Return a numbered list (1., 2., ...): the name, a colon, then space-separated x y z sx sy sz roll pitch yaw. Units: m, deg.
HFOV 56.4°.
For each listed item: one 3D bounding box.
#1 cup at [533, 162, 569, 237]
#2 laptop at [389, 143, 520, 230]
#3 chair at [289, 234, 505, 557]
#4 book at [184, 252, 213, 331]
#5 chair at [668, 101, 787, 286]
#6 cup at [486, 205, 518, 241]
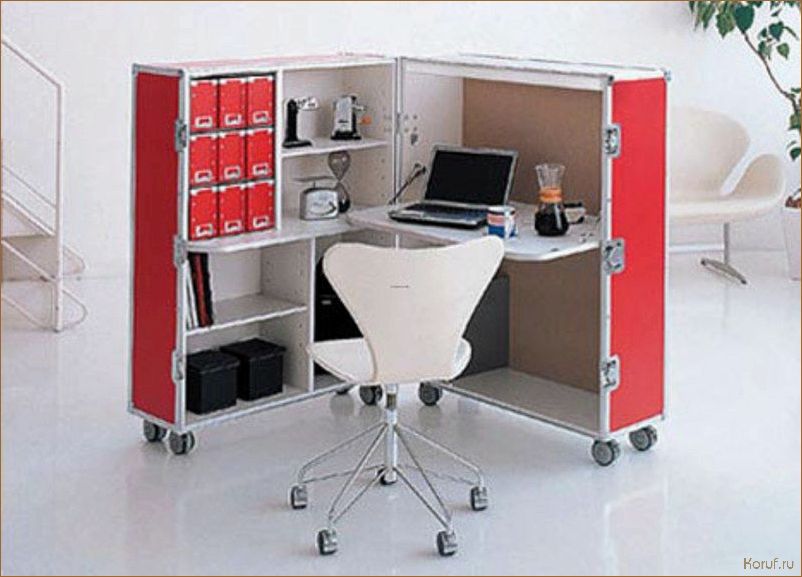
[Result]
1. cup: 0.695 -0.412 3.412 0.153 0.290 0.456 3 14 10
2. laptop: 0.257 -0.479 3.538 0.475 0.310 0.484 10 19 30
3. chair: -0.021 0.351 2.883 0.785 1.140 0.725 -12 18 -42
4. book: -0.886 0.011 3.317 0.065 0.257 0.204 -1 6 -4
5. chair: 2.300 -0.743 5.481 1.098 1.245 0.936 -7 15 -14
6. cup: 0.441 -0.280 3.264 0.134 0.138 0.133 -1 16 0
